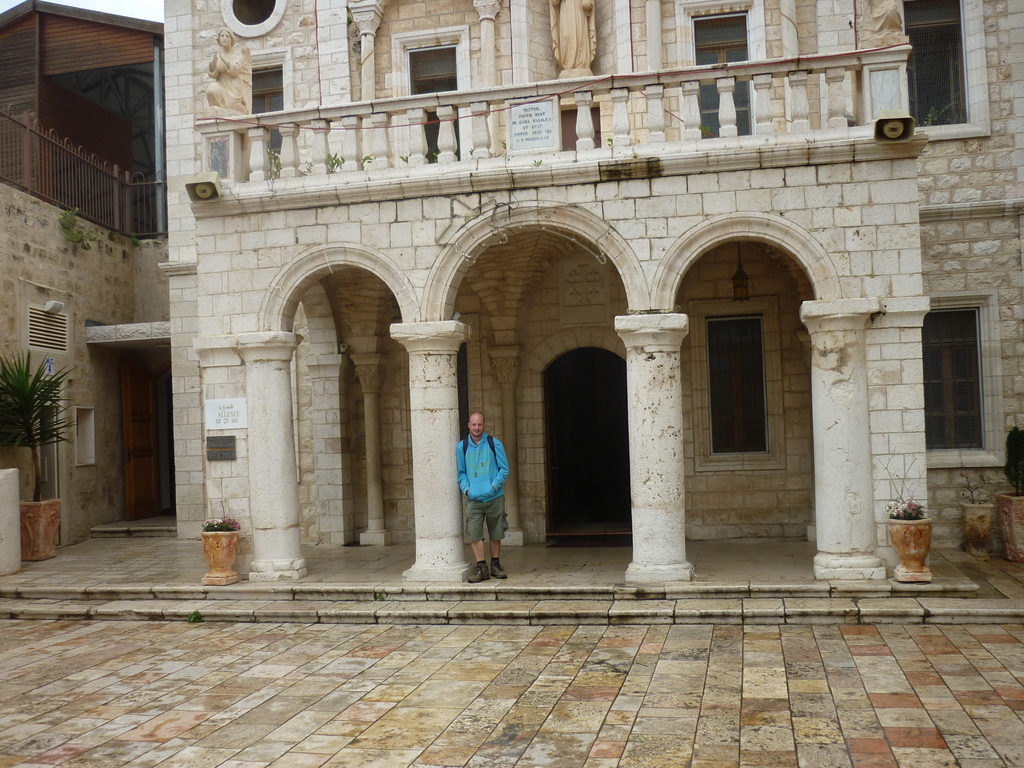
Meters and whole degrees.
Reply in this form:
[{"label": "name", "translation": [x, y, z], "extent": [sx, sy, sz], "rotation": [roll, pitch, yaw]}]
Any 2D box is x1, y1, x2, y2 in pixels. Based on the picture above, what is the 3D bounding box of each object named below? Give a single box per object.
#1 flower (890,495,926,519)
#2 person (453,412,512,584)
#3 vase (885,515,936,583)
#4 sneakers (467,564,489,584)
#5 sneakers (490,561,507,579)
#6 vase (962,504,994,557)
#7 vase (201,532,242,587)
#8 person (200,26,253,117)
[{"label": "flower", "translation": [4.235, 1.329, 12.997], "extent": [0.298, 0.133, 0.277], "rotation": [0, -2, 3]}, {"label": "person", "translation": [-0.349, 1.288, 13.919], "extent": [0.593, 1.877, 0.558], "rotation": [-2, -3, -22]}, {"label": "vase", "translation": [4.316, 1.804, 13.004], "extent": [0.533, 0.614, 0.526], "rotation": [9, -12, -44]}, {"label": "sneakers", "translation": [-0.382, 2.126, 13.762], "extent": [0.260, 0.201, 0.481], "rotation": [-3, -2, 2]}, {"label": "sneakers", "translation": [-0.158, 2.109, 13.836], "extent": [0.173, 0.198, 0.287], "rotation": [-3, -3, -1]}, {"label": "vase", "translation": [5.929, 1.828, 15.249], "extent": [0.480, 0.528, 0.493], "rotation": [2, -7, 27]}, {"label": "vase", "translation": [-3.376, 2.006, 14.010], "extent": [0.350, 0.611, 0.310], "rotation": [-4, -3, 15]}, {"label": "person", "translation": [-3.549, -3.850, 15.073], "extent": [0.544, 1.267, 0.688], "rotation": [-3, -3, -14]}]
